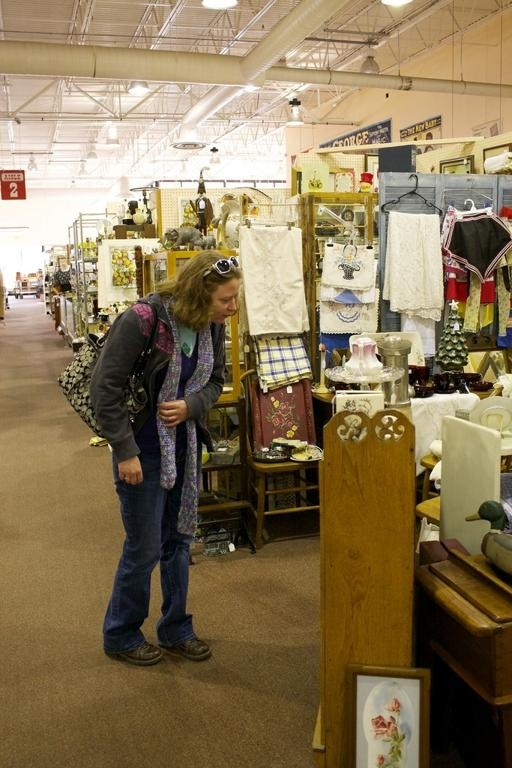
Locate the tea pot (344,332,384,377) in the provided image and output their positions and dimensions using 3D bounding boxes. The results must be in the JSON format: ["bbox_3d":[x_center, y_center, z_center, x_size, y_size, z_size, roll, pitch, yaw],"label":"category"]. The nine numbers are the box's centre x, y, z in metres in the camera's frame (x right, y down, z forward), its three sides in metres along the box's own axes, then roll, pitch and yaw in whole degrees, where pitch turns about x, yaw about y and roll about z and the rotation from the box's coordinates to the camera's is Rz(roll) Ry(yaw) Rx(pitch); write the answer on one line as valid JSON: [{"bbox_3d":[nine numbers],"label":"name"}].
[{"bbox_3d":[0.391,-0.110,2.090,0.127,0.171,0.147,-1,0,6],"label":"tea pot"}]

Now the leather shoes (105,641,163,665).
[{"bbox_3d":[-0.483,1.024,2.177,0.210,0.110,0.083,-1,4,14],"label":"leather shoes"}]

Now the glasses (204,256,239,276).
[{"bbox_3d":[-0.117,-0.375,1.770,0.065,0.028,0.069,-14,13,28],"label":"glasses"}]

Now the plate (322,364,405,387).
[{"bbox_3d":[0.369,-0.027,2.039,0.171,0.062,0.355,-4,5,-40],"label":"plate"}]

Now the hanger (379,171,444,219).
[{"bbox_3d":[1.155,-1.413,4.167,0.381,0.343,0.082,-2,12,-13],"label":"hanger"}]

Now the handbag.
[{"bbox_3d":[-0.526,-0.036,1.896,0.251,0.432,0.469,-3,4,-29],"label":"handbag"}]

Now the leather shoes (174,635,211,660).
[{"bbox_3d":[-0.245,1.025,2.176,0.064,0.057,0.131,3,-7,-37],"label":"leather shoes"}]

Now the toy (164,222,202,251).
[{"bbox_3d":[-0.441,-0.867,3.309,0.231,0.156,0.213,-2,4,-9],"label":"toy"}]

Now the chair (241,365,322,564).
[{"bbox_3d":[0.162,0.428,3.684,0.490,1.046,0.910,-1,3,4],"label":"chair"}]

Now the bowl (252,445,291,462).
[{"bbox_3d":[0.096,0.435,3.423,0.218,0.078,0.174,-1,4,2],"label":"bowl"}]
